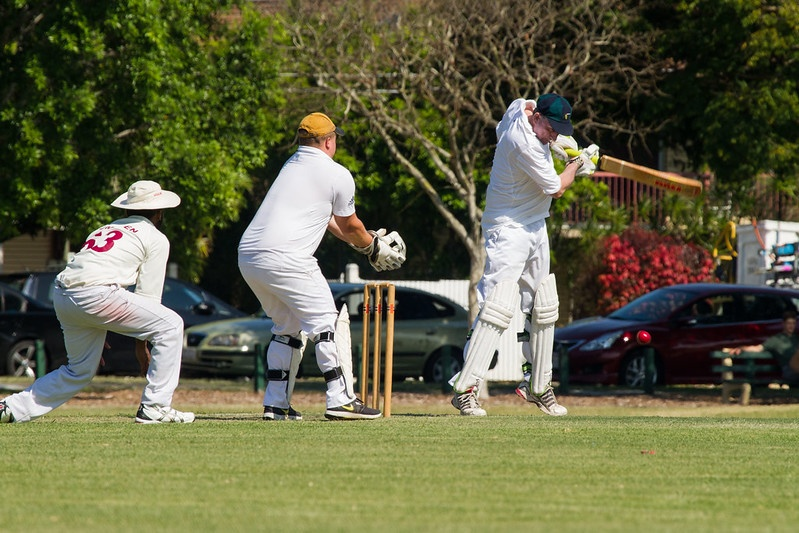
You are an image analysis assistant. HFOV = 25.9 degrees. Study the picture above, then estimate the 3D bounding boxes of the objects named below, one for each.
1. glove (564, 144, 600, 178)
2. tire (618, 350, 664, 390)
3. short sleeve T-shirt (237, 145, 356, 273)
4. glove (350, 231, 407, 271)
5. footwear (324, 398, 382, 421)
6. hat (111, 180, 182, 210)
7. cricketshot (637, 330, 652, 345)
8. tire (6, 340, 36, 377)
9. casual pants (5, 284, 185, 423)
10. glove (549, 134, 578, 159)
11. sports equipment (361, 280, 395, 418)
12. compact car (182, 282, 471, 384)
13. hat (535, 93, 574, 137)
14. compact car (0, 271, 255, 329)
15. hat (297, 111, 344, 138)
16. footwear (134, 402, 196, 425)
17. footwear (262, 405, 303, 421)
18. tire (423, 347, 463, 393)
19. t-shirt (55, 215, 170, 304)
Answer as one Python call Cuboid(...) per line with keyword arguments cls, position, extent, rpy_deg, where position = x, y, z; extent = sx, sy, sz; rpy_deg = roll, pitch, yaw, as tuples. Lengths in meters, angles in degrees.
Cuboid(cls="glove", position=(2.213, -1.248, 20.636), extent=(0.376, 0.358, 0.143), rpy_deg=(2, -6, 21))
Cuboid(cls="tire", position=(3.609, 1.548, 26.044), extent=(0.623, 0.594, 0.204), rpy_deg=(1, -10, -2))
Cuboid(cls="short sleeve T-shirt", position=(-1.169, -0.648, 19.649), extent=(1.153, 1.340, 0.463), rpy_deg=(-4, 11, -25))
Cuboid(cls="glove", position=(-0.192, -0.137, 20.252), extent=(0.519, 0.235, 0.511), rpy_deg=(5, 19, -26))
Cuboid(cls="footwear", position=(-0.541, 1.632, 19.767), extent=(0.645, 0.262, 0.231), rpy_deg=(0, -3, -10))
Cuboid(cls="hat", position=(-2.875, -0.791, 19.695), extent=(0.489, 0.147, 0.442), rpy_deg=(-4, 20, -7))
Cuboid(cls="cricketshot", position=(3.650, 1.097, 25.951), extent=(0.224, 0.274, 0.488), rpy_deg=(2, 10, 7))
Cuboid(cls="tire", position=(-5.982, 1.441, 27.193), extent=(0.470, 0.453, 0.150), rpy_deg=(-21, 2, -6))
Cuboid(cls="casual pants", position=(-3.262, 0.963, 19.508), extent=(2.197, 1.531, 1.207), rpy_deg=(-8, 13, -33))
Cuboid(cls="glove", position=(1.912, -1.415, 20.572), extent=(0.320, 0.141, 0.254), rpy_deg=(5, -2, -40))
Cuboid(cls="sports equipment", position=(-0.274, 0.940, 20.233), extent=(0.348, 1.519, 0.047), rpy_deg=(4, 13, 9))
Cuboid(cls="compact car", position=(-1.191, 1.086, 27.756), extent=(4.346, 1.342, 1.833), rpy_deg=(2, -5, -11))
Cuboid(cls="hat", position=(1.842, -1.766, 20.281), extent=(0.345, 0.493, 0.286), rpy_deg=(-33, -14, -48))
Cuboid(cls="compact car", position=(-4.533, 0.526, 28.575), extent=(3.171, 1.043, 1.462), rpy_deg=(1, -1, -9))
Cuboid(cls="hat", position=(-0.919, -1.637, 19.860), extent=(0.421, 0.219, 0.296), rpy_deg=(-8, 14, -28))
Cuboid(cls="footwear", position=(-2.701, 1.651, 19.580), extent=(0.737, 0.277, 0.242), rpy_deg=(1, 0, -13))
Cuboid(cls="footwear", position=(-1.382, 1.684, 19.921), extent=(0.477, 0.209, 0.168), rpy_deg=(2, -5, -15))
Cuboid(cls="tire", position=(0.718, 1.644, 27.207), extent=(0.203, 0.635, 0.637), rpy_deg=(22, -43, -13))
Cuboid(cls="t-shirt", position=(-3.226, -0.108, 19.479), extent=(0.885, 0.695, 1.106), rpy_deg=(12, 18, 39))
